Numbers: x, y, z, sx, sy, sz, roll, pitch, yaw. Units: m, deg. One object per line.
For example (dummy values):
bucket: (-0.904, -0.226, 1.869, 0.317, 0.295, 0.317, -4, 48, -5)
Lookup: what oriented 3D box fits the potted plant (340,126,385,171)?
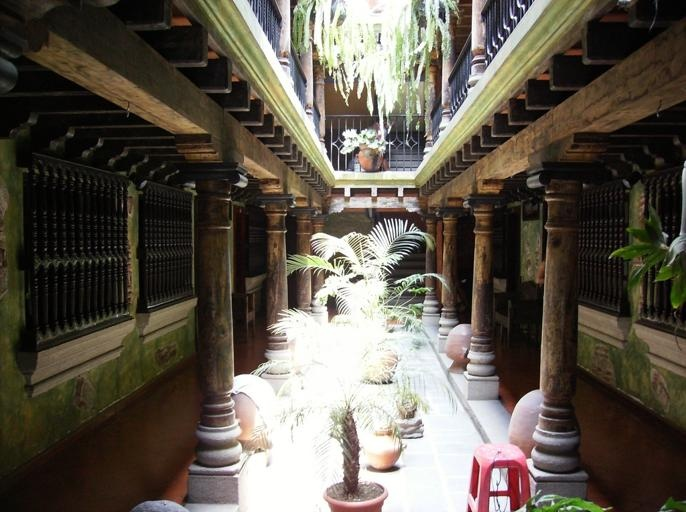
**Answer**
potted plant: (0.473, -2.342, 10.326, 0.858, 1.102, 0.729, 1, -3, 7)
